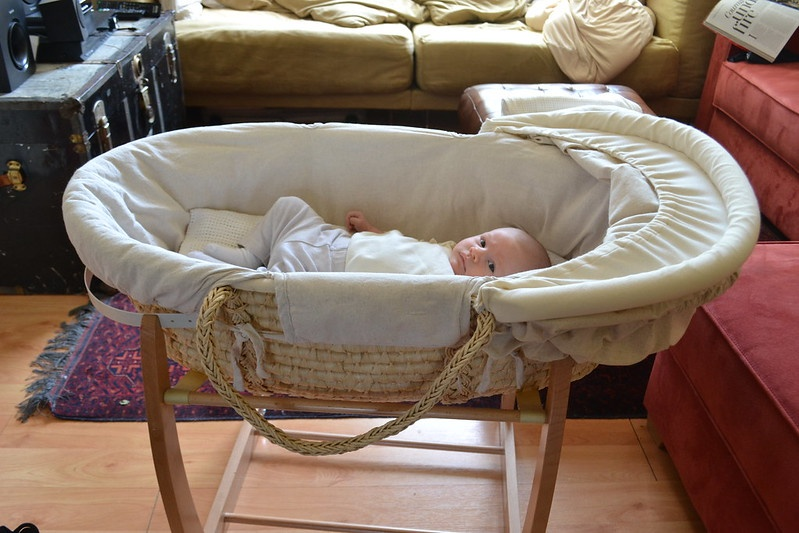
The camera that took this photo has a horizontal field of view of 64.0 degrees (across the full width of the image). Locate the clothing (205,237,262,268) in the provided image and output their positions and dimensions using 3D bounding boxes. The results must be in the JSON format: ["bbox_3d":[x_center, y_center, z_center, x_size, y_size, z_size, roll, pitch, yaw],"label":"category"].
[{"bbox_3d":[-0.450,-0.032,1.708,0.115,0.047,0.084,17,9,-3],"label":"clothing"}]

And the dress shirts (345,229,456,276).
[{"bbox_3d":[-0.004,-0.029,1.684,0.194,0.058,0.145,3,27,-3],"label":"dress shirts"}]

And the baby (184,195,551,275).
[{"bbox_3d":[-0.066,-0.044,1.778,1.056,0.248,0.330,5,5,2],"label":"baby"}]

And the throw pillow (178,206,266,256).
[{"bbox_3d":[-0.494,-0.095,1.760,0.150,0.035,0.145,5,48,-3],"label":"throw pillow"}]

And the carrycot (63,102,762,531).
[{"bbox_3d":[0.002,0.134,1.646,1.578,0.879,0.898,0,38,-3],"label":"carrycot"}]
